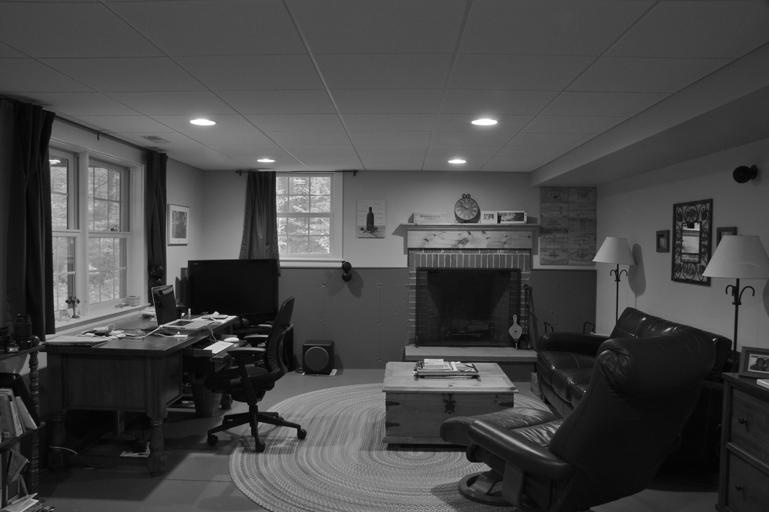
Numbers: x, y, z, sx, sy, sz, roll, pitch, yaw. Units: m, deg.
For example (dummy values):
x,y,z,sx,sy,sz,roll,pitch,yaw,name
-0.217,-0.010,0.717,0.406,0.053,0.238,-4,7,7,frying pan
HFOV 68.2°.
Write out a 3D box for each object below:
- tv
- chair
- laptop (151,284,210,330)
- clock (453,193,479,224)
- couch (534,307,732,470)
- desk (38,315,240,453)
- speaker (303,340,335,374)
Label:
x,y,z,sx,sy,sz,roll,pitch,yaw,name
-1.826,0.383,6.690,0.712,0.557,0.241,-1,5,-17,tv
-1.306,1.134,5.700,1.271,1.499,1.186,2,-5,-6,chair
-2.030,0.481,5.489,0.385,0.331,0.510,4,2,-6,laptop
1.049,-0.593,7.236,0.331,0.403,0.108,-1,-2,2,clock
2.164,1.154,5.143,1.226,1.204,2.051,3,-3,3,couch
-2.214,0.816,4.888,0.855,0.757,1.742,0,0,-1,desk
-0.817,1.273,7.172,0.391,0.361,0.388,0,-2,-1,speaker
